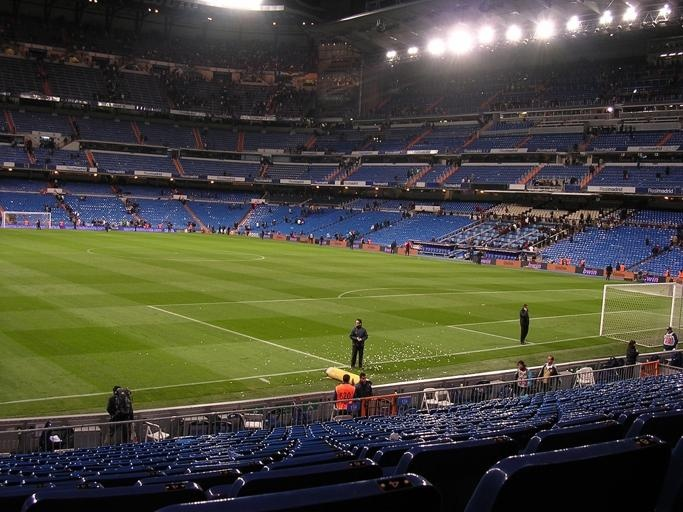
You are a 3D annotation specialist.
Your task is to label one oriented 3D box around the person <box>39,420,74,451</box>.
[{"bbox_3d":[-5.396,3.494,12.216,0.853,0.404,0.751,1,6,-13],"label":"person"}]
